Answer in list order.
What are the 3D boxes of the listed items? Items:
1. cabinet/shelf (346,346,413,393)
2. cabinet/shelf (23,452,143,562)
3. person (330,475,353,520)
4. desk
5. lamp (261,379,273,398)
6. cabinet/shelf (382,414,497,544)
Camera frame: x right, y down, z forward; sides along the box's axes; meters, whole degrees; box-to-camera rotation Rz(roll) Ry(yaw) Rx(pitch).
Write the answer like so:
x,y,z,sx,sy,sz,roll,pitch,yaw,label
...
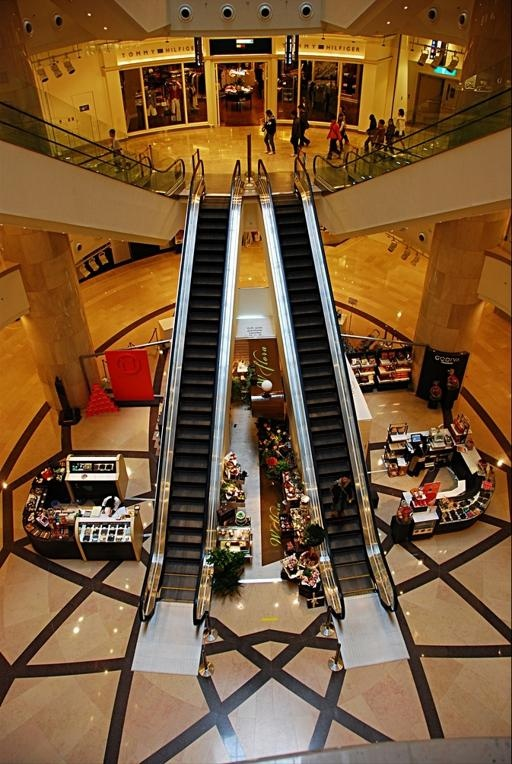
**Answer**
x,y,z,sx,sy,sz,roll,pitch,yaw,label
3.257,-0.359,11.587,1.558,0.935,0.812,-6,27,-9,cabinet/shelf
-2.965,2.283,8.048,1.790,0.810,1.866,0,53,0,cabinet/shelf
1.317,1.631,6.768,0.270,0.827,0.586,8,28,19,person
0.366,2.486,7.669,1.062,0.504,2.205,-1,45,2,desk
0.210,0.130,9.971,0.177,0.193,0.468,-4,21,-3,lamp
3.582,1.782,8.508,1.898,0.804,2.125,-5,55,3,cabinet/shelf
